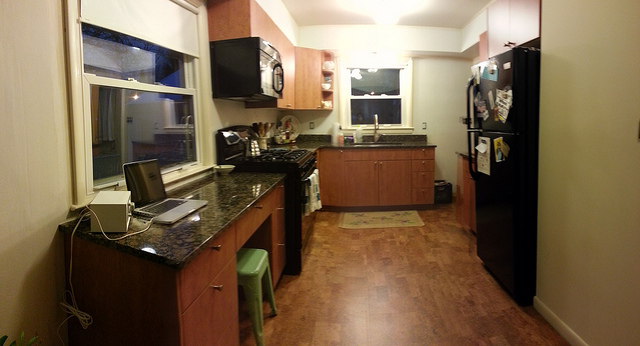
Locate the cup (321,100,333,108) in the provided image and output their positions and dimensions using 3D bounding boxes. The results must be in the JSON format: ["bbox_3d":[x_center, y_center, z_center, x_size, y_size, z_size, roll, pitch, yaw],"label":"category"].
[{"bbox_3d":[0.118,-1.084,6.457,0.141,0.079,0.134,-1,0,0],"label":"cup"}]

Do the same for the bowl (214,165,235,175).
[{"bbox_3d":[-0.969,-0.042,4.255,0.180,0.085,0.163,-1,10,0],"label":"bowl"}]

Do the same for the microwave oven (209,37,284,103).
[{"bbox_3d":[-0.788,-1.151,4.772,0.585,0.610,0.995,0,5,7],"label":"microwave oven"}]

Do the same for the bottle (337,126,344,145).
[{"bbox_3d":[0.332,-0.630,6.563,0.100,0.252,0.229,-1,10,3],"label":"bottle"}]

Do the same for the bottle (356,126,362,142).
[{"bbox_3d":[0.633,-0.636,6.621,0.086,0.227,0.160,0,10,10],"label":"bottle"}]

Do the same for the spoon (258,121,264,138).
[{"bbox_3d":[-0.761,-0.588,5.317,0.046,0.171,0.048,4,9,4],"label":"spoon"}]

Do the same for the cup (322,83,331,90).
[{"bbox_3d":[0.109,-1.354,6.397,0.168,0.083,0.098,-2,22,-2],"label":"cup"}]

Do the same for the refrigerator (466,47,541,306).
[{"bbox_3d":[1.822,0.006,4.070,0.386,2.391,0.803,-3,10,-7],"label":"refrigerator"}]

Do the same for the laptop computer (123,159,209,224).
[{"bbox_3d":[-1.254,0.161,3.289,0.553,0.391,0.565,4,12,5],"label":"laptop computer"}]

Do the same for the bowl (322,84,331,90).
[{"bbox_3d":[0.101,-1.358,6.348,0.126,0.063,0.073,-2,18,-4],"label":"bowl"}]
